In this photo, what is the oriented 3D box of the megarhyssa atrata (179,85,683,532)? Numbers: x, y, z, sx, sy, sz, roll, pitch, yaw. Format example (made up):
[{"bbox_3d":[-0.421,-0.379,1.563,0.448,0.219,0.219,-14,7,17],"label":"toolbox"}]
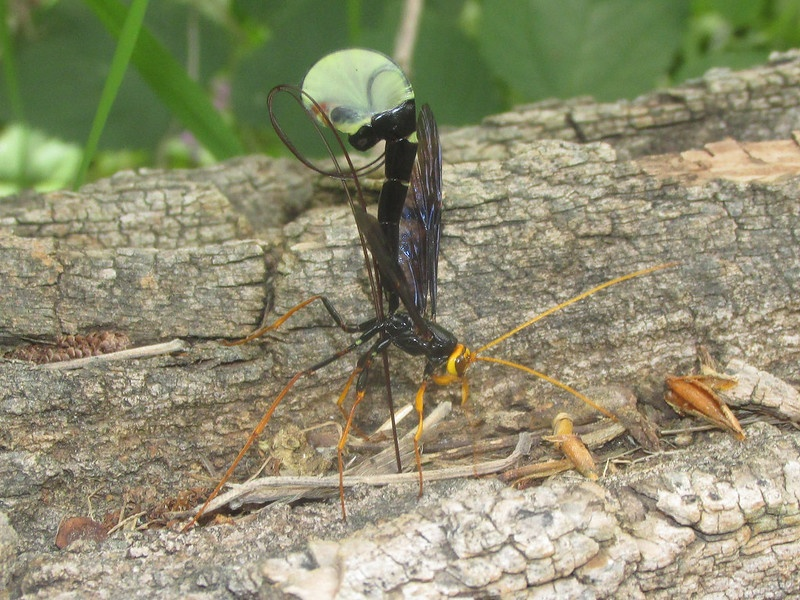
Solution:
[{"bbox_3d":[-0.051,-0.226,4.909,1.590,1.971,0.898,-26,25,-22],"label":"megarhyssa atrata"}]
